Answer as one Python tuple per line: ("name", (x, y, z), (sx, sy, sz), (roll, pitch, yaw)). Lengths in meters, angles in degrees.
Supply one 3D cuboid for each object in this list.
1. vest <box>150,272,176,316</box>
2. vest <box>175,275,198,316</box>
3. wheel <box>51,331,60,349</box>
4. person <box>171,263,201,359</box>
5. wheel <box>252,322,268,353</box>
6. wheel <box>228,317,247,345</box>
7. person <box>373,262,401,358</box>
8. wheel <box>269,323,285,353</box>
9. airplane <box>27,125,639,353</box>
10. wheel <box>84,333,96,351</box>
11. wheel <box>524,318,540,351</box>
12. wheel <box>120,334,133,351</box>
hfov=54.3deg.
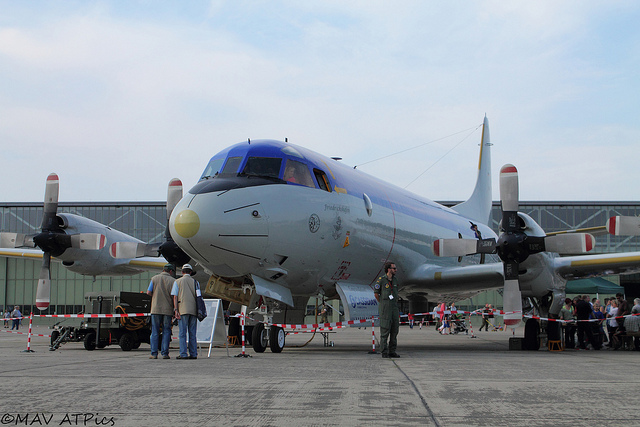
("vest", (-3.758, 1.954, 15.014), (0.548, 1.044, 0.358), (-1, -12, -13))
("vest", (-3.159, 1.972, 14.890), (0.480, 0.974, 0.235), (-1, -12, -11))
("wheel", (-7.864, 3.797, 18.643), (0.231, 0.516, 0.553), (8, 16, -3))
("person", (-3.155, 2.484, 14.821), (0.687, 1.939, 0.417), (-1, -12, -10))
("wheel", (-1.564, 3.276, 16.389), (0.380, 0.775, 0.251), (-1, -12, -9))
("wheel", (-2.724, 3.810, 20.038), (0.387, 0.844, 0.716), (-1, -12, -13))
("person", (1.621, 2.332, 14.929), (0.536, 2.251, 0.534), (-4, -12, 4))
("wheel", (-1.103, 3.345, 16.498), (0.261, 0.687, 0.532), (-14, -16, 40))
("airplane", (0.660, 1.413, 19.771), (15.511, 5.472, 8.791), (0, -11, -16))
("wheel", (-6.812, 3.844, 18.628), (0.335, 0.497, 0.388), (4, -13, -30))
("wheel", (6.675, 3.875, 19.384), (0.361, 0.892, 0.999), (-9, -9, 33))
("wheel", (-5.762, 3.880, 18.652), (0.156, 0.429, 0.475), (-7, -13, 28))
